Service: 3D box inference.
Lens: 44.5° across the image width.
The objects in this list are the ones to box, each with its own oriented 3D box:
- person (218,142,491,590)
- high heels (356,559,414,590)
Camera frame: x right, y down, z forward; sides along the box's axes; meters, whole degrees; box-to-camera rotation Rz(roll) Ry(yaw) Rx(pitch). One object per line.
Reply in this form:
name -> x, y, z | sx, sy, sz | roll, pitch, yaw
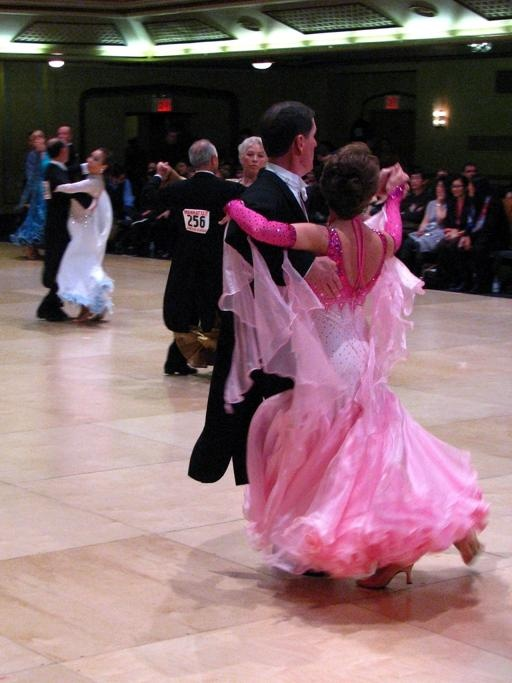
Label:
person -> 0.288, 0.093, 1.902 | 0.803, 1.374, 0.562 | 0, 3, -18
high heels -> 0.390, 0.707, 1.907 | 0.188, 0.071, 0.093 | 1, -3, -2
